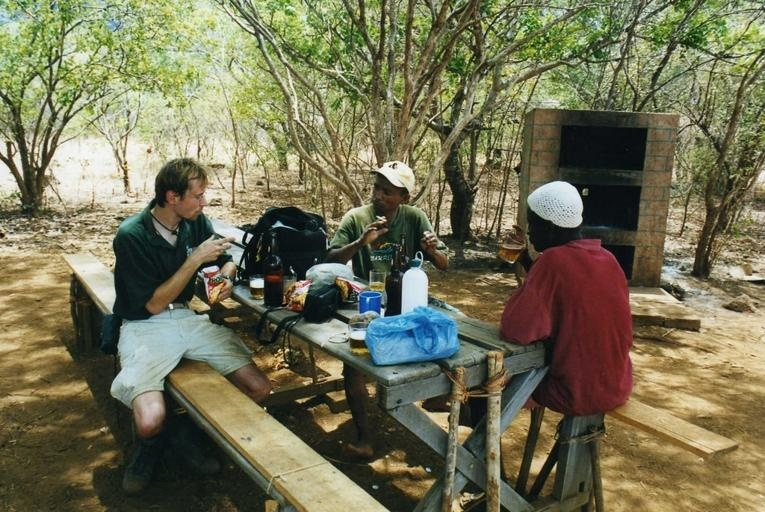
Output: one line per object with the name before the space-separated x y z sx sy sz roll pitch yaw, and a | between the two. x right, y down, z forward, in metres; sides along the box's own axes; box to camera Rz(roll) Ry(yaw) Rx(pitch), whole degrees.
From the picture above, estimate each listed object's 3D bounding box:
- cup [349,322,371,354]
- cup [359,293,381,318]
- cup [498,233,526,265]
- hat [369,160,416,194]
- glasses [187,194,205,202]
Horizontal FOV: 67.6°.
cup | -0.169 0.588 4.230 0.141 0.246 0.219 0 13 -2
cup | -0.091 0.381 4.517 0.202 0.181 0.183 4 9 13
cup | 1.149 -0.059 5.010 0.270 0.188 0.200 19 12 -30
hat | 0.132 -0.787 5.725 0.335 0.323 0.442 6 13 23
glasses | -1.645 -0.517 5.040 0.086 0.097 0.092 23 1 -4
